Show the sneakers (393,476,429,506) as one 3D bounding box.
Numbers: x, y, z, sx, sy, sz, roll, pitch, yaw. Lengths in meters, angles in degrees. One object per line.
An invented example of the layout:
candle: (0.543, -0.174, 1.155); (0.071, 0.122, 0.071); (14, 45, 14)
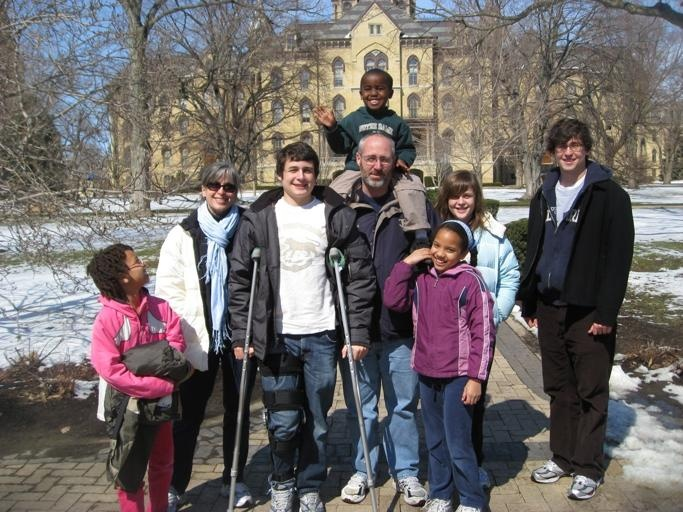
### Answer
sneakers: (0.612, 2.023, 5.476); (0.151, 0.121, 0.296); (2, -8, -25)

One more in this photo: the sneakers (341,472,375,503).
sneakers: (0.150, 2.050, 5.631); (0.150, 0.168, 0.390); (9, -14, 21)

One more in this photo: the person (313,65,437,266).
person: (0.292, -1.009, 6.379); (1.235, 1.885, 1.149); (-1, 5, -24)

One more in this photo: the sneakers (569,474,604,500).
sneakers: (2.057, 1.981, 5.446); (0.220, 0.169, 0.137); (-1, 6, 17)

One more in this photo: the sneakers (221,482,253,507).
sneakers: (-0.909, 2.076, 5.533); (0.136, 0.135, 0.300); (9, -12, -28)

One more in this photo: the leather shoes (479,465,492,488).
leather shoes: (1.270, 1.938, 5.645); (0.122, 0.061, 0.200); (12, 10, -1)

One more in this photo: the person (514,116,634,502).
person: (2.046, 0.419, 5.612); (0.934, 3.225, 0.674); (1, 7, 31)

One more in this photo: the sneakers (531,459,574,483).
sneakers: (1.881, 1.926, 5.676); (0.325, 0.141, 0.151); (1, -4, -8)
